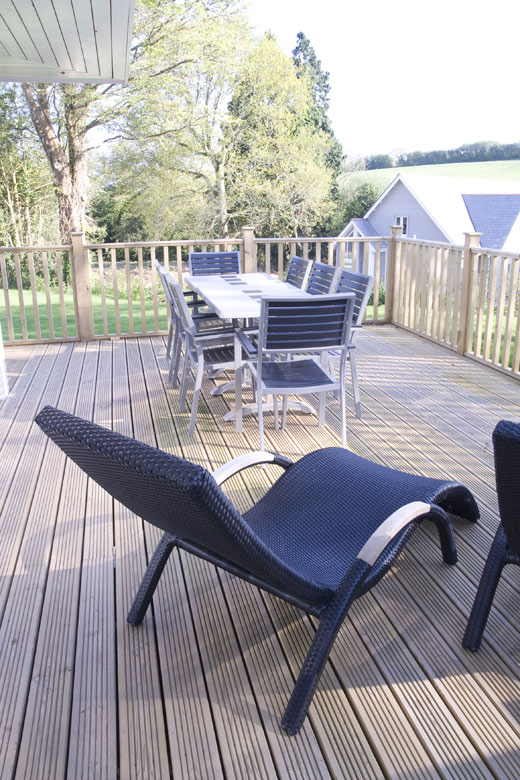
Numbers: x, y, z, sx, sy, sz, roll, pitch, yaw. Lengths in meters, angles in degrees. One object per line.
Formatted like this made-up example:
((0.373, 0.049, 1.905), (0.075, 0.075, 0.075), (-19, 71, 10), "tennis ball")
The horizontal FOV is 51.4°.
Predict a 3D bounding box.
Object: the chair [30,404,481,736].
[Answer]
((0.135, 0.140, 1.582), (0.680, 0.750, 1.317), (15, 32, 41), "chair")
